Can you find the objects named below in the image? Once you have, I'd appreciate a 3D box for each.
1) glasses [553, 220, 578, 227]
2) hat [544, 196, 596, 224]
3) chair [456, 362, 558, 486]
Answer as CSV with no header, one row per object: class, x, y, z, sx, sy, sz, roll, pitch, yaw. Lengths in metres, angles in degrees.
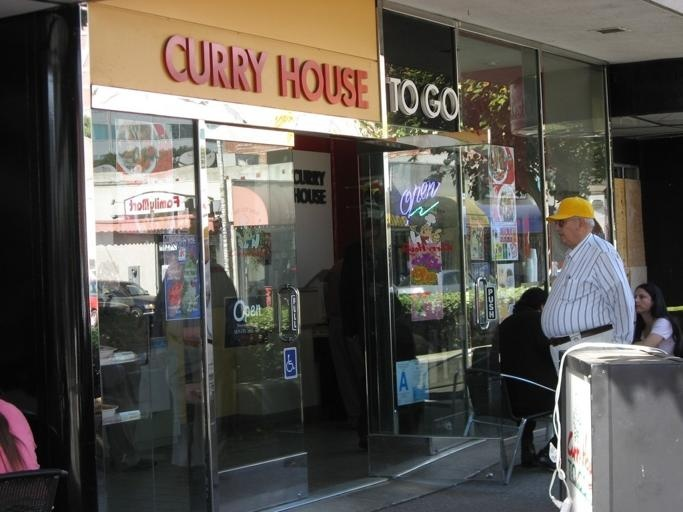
glasses,1.828,-0.271,5.619,0.118,0.034,0.092,-4,-4,-23
hat,1.837,-0.367,5.589,0.391,0.227,0.285,3,1,17
chair,1.392,1.316,5.982,0.855,1.271,0.758,-1,-1,-36
